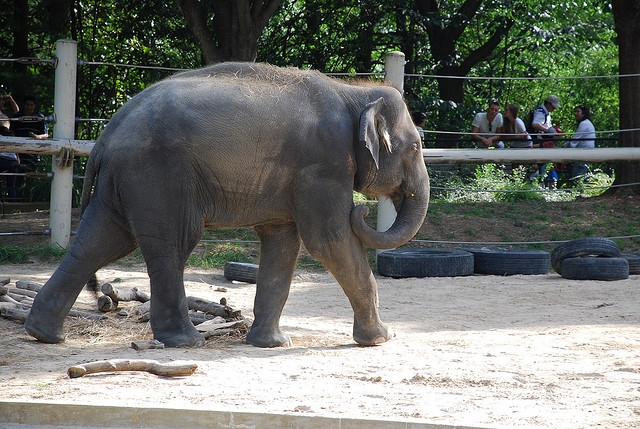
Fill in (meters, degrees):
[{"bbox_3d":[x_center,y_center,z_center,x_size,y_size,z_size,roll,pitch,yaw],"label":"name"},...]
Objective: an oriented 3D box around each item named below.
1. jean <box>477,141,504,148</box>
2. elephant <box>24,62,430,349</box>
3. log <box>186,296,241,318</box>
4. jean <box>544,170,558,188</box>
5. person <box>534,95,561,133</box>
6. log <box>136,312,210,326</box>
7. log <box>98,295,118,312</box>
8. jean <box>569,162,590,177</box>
[{"bbox_3d":[2.723,-1.112,15.905,0.435,0.207,0.150,0,7,-4],"label":"jean"},{"bbox_3d":[-0.920,-0.495,11.280,4.642,2.930,2.125,0,5,-17],"label":"elephant"},{"bbox_3d":[-1.176,1.002,10.849,0.510,0.102,0.118,15,-23,20],"label":"log"},{"bbox_3d":[4.141,-0.646,17.894,0.210,0.295,0.711,3,6,15],"label":"jean"},{"bbox_3d":[3.837,-1.704,16.969,0.348,0.602,1.177,3,6,13],"label":"person"},{"bbox_3d":[-1.501,1.100,10.444,0.438,0.054,0.282,6,11,-21],"label":"log"},{"bbox_3d":[-2.307,0.962,10.829,0.181,0.165,0.184,-4,5,-9],"label":"log"},{"bbox_3d":[4.534,-0.779,17.485,0.289,0.261,0.797,3,6,16],"label":"jean"}]
